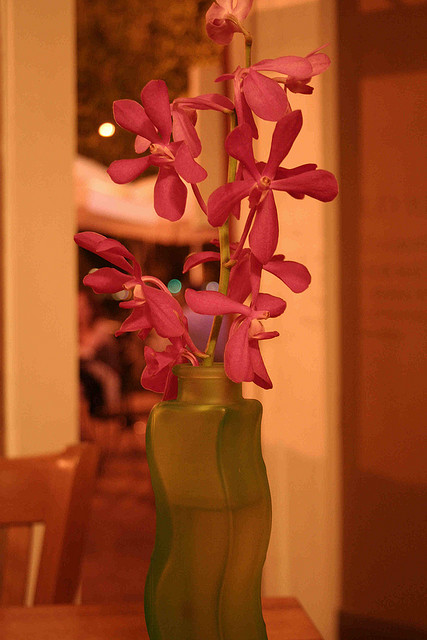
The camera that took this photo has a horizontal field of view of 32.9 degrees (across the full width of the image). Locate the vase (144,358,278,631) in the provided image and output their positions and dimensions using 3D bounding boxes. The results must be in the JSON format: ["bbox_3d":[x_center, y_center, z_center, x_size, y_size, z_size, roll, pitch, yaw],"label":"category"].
[{"bbox_3d":[-0.006,0.227,0.923,0.161,0.331,0.088,1,6,-6],"label":"vase"}]

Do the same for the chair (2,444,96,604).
[{"bbox_3d":[-0.313,0.365,1.242,0.175,0.268,0.223,2,6,4],"label":"chair"}]
